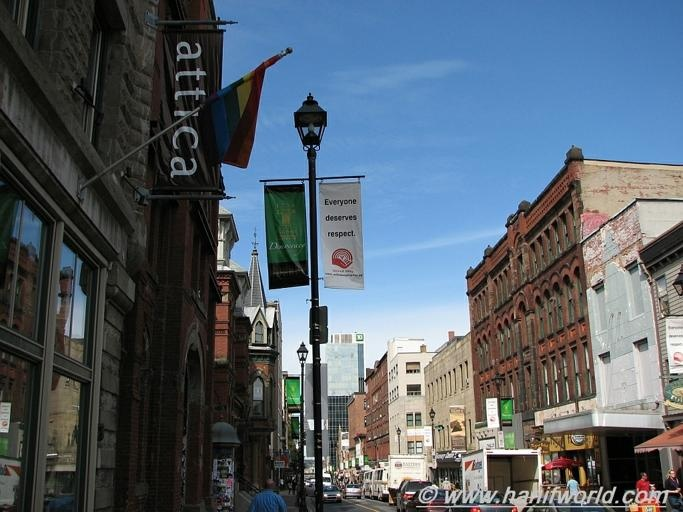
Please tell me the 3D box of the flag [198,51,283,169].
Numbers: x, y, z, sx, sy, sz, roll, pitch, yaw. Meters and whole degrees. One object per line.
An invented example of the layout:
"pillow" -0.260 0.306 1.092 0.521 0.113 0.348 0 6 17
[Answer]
"flag" -2.222 -2.800 14.051 1.501 1.636 1.210 -4 -22 3

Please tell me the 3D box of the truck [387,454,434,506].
"truck" 5.297 16.872 53.427 3.032 3.792 5.720 1 -20 -4

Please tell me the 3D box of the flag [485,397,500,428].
"flag" 10.411 10.740 46.857 0.885 1.876 1.158 -7 -22 12

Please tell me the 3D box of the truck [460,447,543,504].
"truck" 6.676 8.434 28.047 2.036 2.692 4.026 3 -20 -6

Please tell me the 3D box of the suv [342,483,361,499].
"suv" 1.213 25.487 73.773 1.195 1.069 2.967 1 -11 -3

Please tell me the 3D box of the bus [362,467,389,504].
"bus" 3.672 20.853 63.033 1.691 2.187 6.632 3 -17 -7
